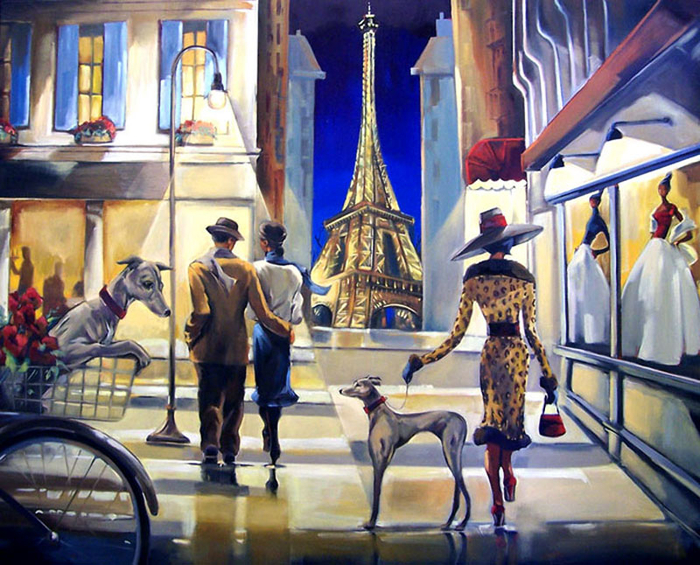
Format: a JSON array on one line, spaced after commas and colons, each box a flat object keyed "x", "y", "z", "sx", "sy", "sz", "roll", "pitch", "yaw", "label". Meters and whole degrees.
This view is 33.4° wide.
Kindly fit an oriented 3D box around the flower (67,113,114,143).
[{"x": -2.110, "y": -1.247, "z": 9.628, "sx": 0.270, "sy": 0.103, "sz": 0.246, "roll": -3, "pitch": -20, "yaw": 2, "label": "flower"}]

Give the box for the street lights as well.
[{"x": -1.283, "y": -0.335, "z": 9.299, "sx": 0.509, "sy": 3.234, "sz": 0.302, "roll": 2, "pitch": -2, "yaw": 9, "label": "street lights"}]
